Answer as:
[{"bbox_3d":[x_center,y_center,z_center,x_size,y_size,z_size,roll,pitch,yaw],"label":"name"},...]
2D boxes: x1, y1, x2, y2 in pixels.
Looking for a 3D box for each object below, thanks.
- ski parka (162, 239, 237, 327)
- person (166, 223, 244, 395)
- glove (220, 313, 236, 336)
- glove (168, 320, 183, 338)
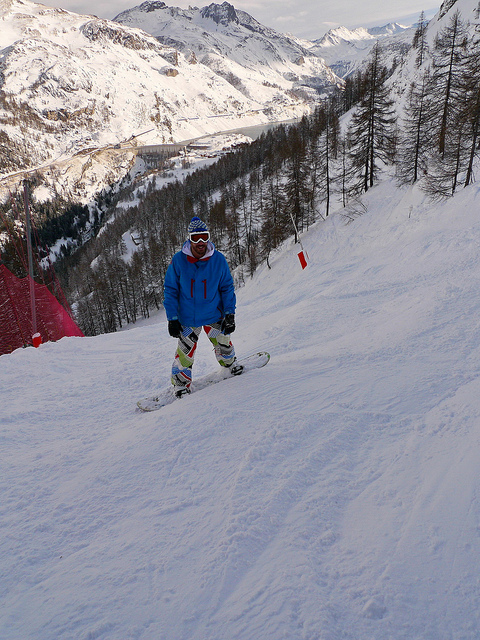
[{"bbox_3d":[-0.497,-0.405,6.825,0.853,1.081,0.568,-4,25,-9],"label":"ski parka"},{"bbox_3d":[-0.513,-0.132,6.924,0.947,2.126,0.771,-9,15,-3],"label":"person"},{"bbox_3d":[-0.138,0.045,7.096,0.101,0.258,0.189,6,-12,-35],"label":"glove"},{"bbox_3d":[-0.784,0.099,6.887,0.144,0.197,0.070,10,-4,24],"label":"glove"}]
